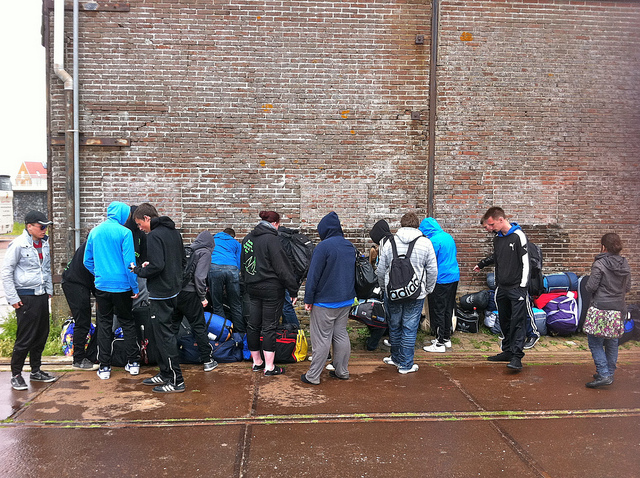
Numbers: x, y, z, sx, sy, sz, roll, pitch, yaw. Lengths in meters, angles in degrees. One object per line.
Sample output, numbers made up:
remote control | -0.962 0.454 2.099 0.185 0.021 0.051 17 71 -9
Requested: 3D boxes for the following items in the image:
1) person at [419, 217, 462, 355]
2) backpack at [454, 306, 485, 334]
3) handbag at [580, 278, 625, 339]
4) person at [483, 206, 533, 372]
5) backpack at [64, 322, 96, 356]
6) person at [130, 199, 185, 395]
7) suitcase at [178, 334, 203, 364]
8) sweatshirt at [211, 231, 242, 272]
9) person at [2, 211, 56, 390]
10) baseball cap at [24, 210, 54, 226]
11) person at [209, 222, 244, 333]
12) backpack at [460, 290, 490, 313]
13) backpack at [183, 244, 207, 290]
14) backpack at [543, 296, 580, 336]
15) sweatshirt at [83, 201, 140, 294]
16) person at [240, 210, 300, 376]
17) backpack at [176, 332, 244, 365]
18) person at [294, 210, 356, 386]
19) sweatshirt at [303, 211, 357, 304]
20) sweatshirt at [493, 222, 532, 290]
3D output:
person | 1.997 0.765 10.963 0.616 2.202 0.716 -1 6 7
backpack | 2.659 1.436 11.719 0.527 0.491 0.397 3 2 17
handbag | 4.037 1.052 9.903 0.746 0.901 0.508 10 -7 14
person | 2.927 0.765 10.298 0.619 2.508 0.536 3 7 40
backpack | -3.841 1.580 10.473 0.432 0.566 0.597 -1 2 -43
person | -2.354 0.828 9.588 0.764 2.671 1.017 -3 6 -16
suitcase | -2.043 1.720 10.460 0.337 0.445 0.464 -1 0 -9
sweatshirt | -1.566 0.232 10.869 0.658 0.634 0.354 -1 -4 -17
person | -4.180 0.863 9.434 0.679 2.505 0.396 -5 7 -34
baseball cap | -4.036 -0.293 9.431 0.316 0.163 0.195 -3 8 -20
person | -1.558 0.681 10.961 0.503 1.675 0.527 -1 5 3
backpack | 2.810 1.118 11.797 0.419 0.302 0.402 -6 36 48
backpack | -1.927 0.406 10.091 0.346 0.604 0.610 -2 5 -9
backpack | 4.297 1.241 11.625 0.529 0.676 0.388 -7 1 21
sweatshirt | -3.057 0.142 9.715 0.617 1.324 0.365 -3 6 -17
person | -0.755 0.824 9.860 0.847 2.441 0.482 -1 5 -1
backpack | -1.772 1.666 10.559 1.120 0.401 0.664 -1 20 5
person | 0.160 0.847 9.805 0.694 2.509 0.767 1 6 21
sweatshirt | 0.147 0.264 9.676 0.757 1.322 0.399 -1 5 1
sweatshirt | 3.000 0.280 10.292 0.596 1.021 0.305 1 6 18
